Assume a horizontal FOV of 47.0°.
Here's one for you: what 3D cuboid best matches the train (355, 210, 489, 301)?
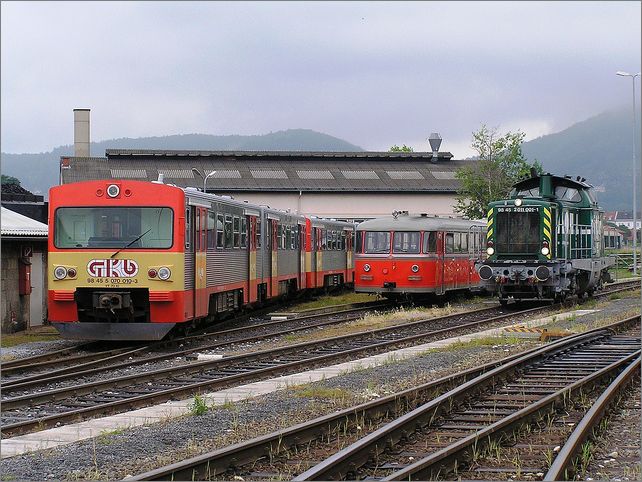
[{"bbox_3d":[4.963,0.855,33.372,3.331,4.023,11.987,-3,-2,23],"label":"train"}]

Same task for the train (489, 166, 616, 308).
[{"bbox_3d":[8.411,-0.146,27.716,2.524,4.917,6.479,-3,-4,37],"label":"train"}]
